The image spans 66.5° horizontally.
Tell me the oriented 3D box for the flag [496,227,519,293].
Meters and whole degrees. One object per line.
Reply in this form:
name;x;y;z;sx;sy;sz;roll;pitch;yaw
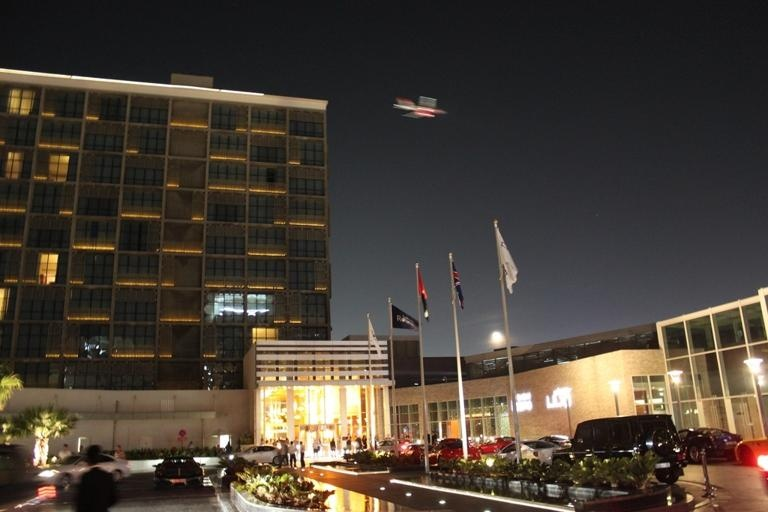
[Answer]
flag;6.971;0.204;33.316;0.837;3.934;1.882;-5;-16;11

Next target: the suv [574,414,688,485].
suv;12.769;10.301;32.328;3.385;2.923;6.046;6;-11;-28

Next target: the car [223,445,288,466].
car;-11.480;18.663;55.372;3.956;1.729;4.113;0;-16;-7

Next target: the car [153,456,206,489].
car;-13.603;14.396;39.134;2.966;1.749;1.719;0;-16;-7
